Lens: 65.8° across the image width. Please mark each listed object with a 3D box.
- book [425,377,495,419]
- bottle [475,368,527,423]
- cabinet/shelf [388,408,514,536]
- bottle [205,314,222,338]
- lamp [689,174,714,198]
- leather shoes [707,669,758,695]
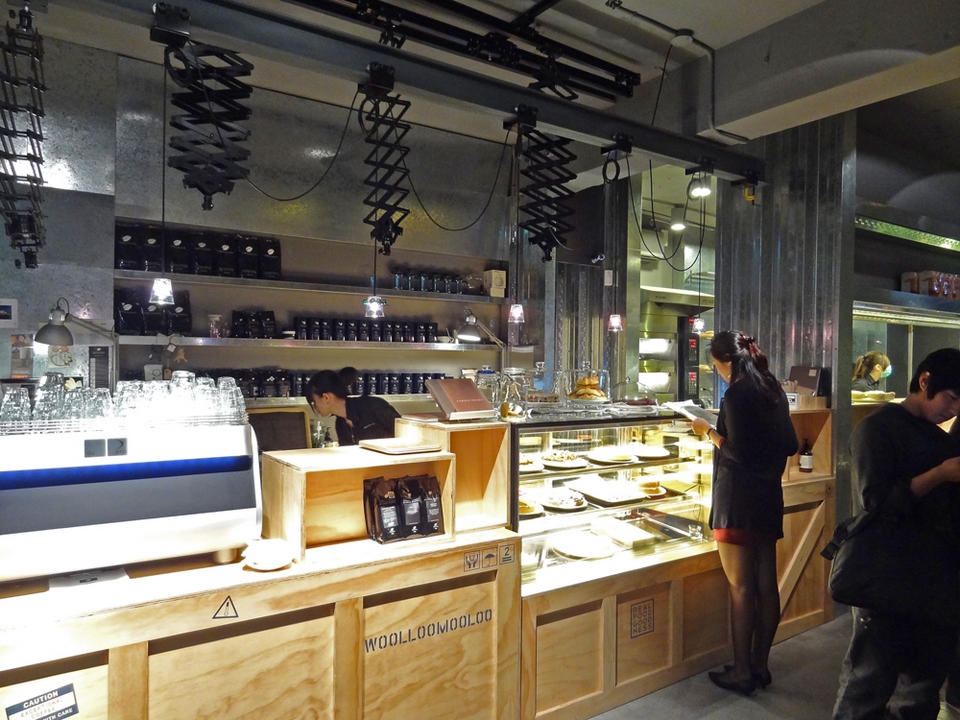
[{"bbox_3d":[-0.094,0.228,4.302,0.414,0.234,0.244,-2,2,-19],"label":"book"},{"bbox_3d":[0.153,0.208,4.467,0.337,0.353,0.204,-6,-7,26],"label":"bottle"},{"bbox_3d":[-0.109,0.658,4.405,0.812,0.793,0.577,2,-6,-31],"label":"cabinet/shelf"},{"bbox_3d":[-2.171,-0.282,6.094,0.136,0.192,0.324,-2,2,-21],"label":"bottle"},{"bbox_3d":[1.685,-1.324,5.691,0.154,0.151,0.291,-1,2,14],"label":"lamp"},{"bbox_3d":[1.597,2.026,4.703,0.292,0.121,0.116,10,7,37],"label":"leather shoes"}]
